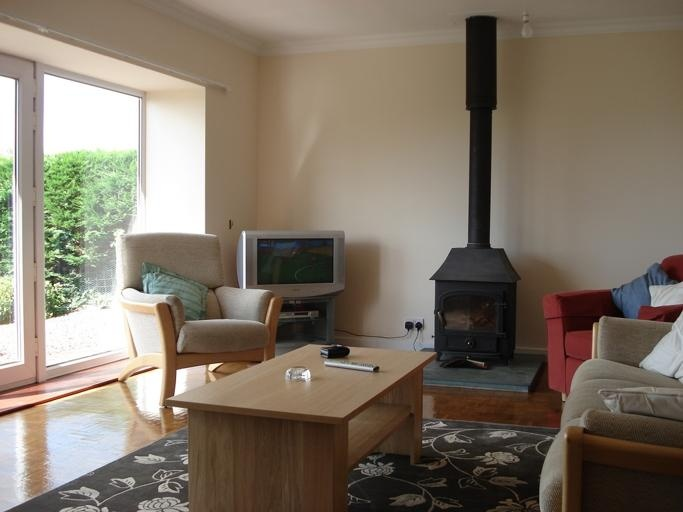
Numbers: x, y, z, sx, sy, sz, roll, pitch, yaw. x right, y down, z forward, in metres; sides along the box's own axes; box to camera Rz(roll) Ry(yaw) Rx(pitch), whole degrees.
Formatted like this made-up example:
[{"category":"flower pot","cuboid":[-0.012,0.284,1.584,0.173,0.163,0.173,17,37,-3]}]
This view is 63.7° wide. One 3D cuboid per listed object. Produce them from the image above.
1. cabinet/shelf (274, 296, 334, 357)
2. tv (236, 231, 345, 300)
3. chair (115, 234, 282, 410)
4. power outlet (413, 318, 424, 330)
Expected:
[{"category":"cabinet/shelf","cuboid":[-0.446,0.594,5.132,0.655,0.559,0.453,-4,9,-11]},{"category":"tv","cuboid":[-0.444,0.073,4.947,1.139,0.670,0.599,0,1,-9]},{"category":"chair","cuboid":[-1.092,0.382,4.049,0.985,1.025,1.026,0,1,-42]},{"category":"power outlet","cuboid":[0.725,0.635,5.152,0.088,0.109,0.020,1,4,9]}]
